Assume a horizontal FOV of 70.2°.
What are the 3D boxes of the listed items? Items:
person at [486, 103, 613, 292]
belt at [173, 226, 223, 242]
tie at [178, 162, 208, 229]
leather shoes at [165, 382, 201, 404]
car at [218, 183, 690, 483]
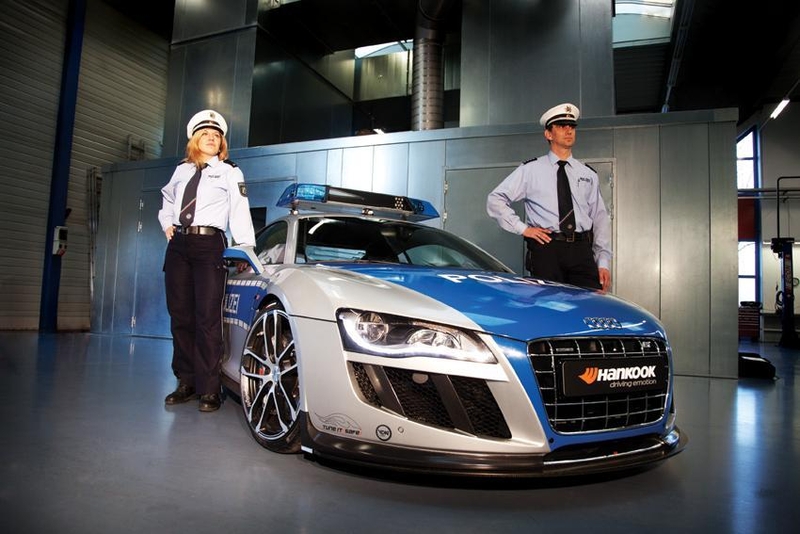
[{"bbox_3d":[1.337,-0.277,4.995,0.964,2.277,0.481,-4,27,12],"label":"person"},{"bbox_3d":[-1.686,-0.297,4.730,0.422,0.083,0.119,2,9,4],"label":"belt"},{"bbox_3d":[-1.732,-0.577,4.748,0.142,0.500,0.190,4,8,18],"label":"tie"},{"bbox_3d":[-1.836,1.067,4.890,0.118,0.184,0.347,-2,-7,22],"label":"leather shoes"},{"bbox_3d":[-0.183,0.401,4.368,1.810,1.292,3.086,4,-5,-31],"label":"car"}]
